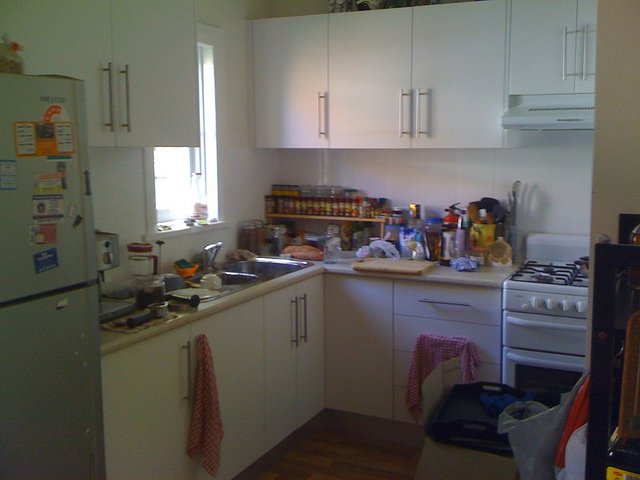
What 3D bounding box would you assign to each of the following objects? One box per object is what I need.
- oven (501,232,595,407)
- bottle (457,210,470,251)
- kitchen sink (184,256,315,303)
[{"bbox_3d":[1.417,0.408,3.240,0.465,0.821,0.872,2,9,24],"label":"oven"},{"bbox_3d":[0.984,-0.072,3.561,0.078,0.254,0.236,1,9,15],"label":"bottle"},{"bbox_3d":[-0.452,0.185,3.364,0.581,0.184,0.668,12,14,42],"label":"kitchen sink"}]
